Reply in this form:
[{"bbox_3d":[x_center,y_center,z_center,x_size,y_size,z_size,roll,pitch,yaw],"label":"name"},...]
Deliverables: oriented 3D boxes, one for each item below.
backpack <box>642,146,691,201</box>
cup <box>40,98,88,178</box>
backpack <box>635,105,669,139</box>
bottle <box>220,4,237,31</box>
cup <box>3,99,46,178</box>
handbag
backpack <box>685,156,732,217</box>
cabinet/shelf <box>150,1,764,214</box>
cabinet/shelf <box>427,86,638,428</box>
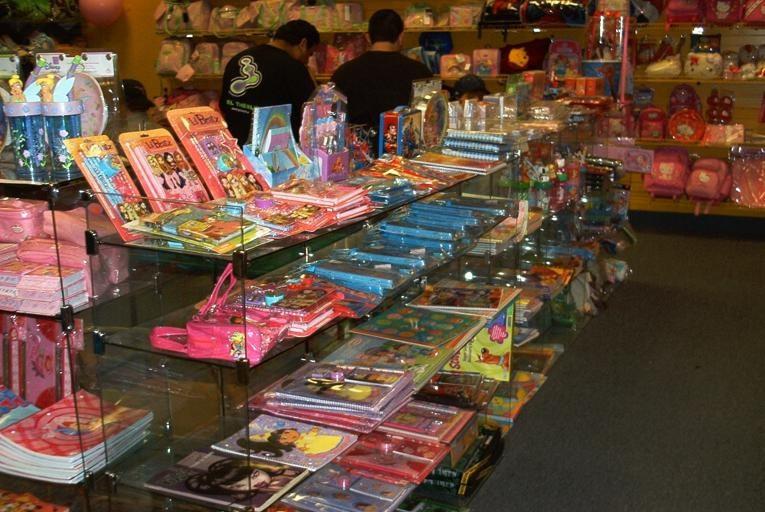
[{"bbox_3d":[3.330,-0.983,6.373,0.482,0.539,0.518,11,13,20],"label":"backpack"},{"bbox_3d":[-1.041,-0.382,1.787,0.113,0.243,0.131,-7,18,-16],"label":"cup"},{"bbox_3d":[3.229,-1.585,6.559,0.347,0.364,0.152,-1,-6,25],"label":"backpack"},{"bbox_3d":[-2.124,-3.293,7.510,0.351,0.317,0.314,-3,20,-6],"label":"bottle"},{"bbox_3d":[-1.162,-0.377,1.779,0.131,0.245,0.075,2,18,12],"label":"cup"},{"bbox_3d":[-0.500,0.150,1.634,0.380,0.282,0.208,6,19,24],"label":"handbag"},{"bbox_3d":[3.864,-0.836,6.494,0.514,0.616,0.257,14,8,33],"label":"backpack"},{"bbox_3d":[1.184,-1.262,4.410,3.801,1.137,0.607,0,7,11],"label":"cabinet/shelf"},{"bbox_3d":[0.874,0.000,3.195,0.720,1.658,2.211,11,24,34],"label":"cabinet/shelf"}]
